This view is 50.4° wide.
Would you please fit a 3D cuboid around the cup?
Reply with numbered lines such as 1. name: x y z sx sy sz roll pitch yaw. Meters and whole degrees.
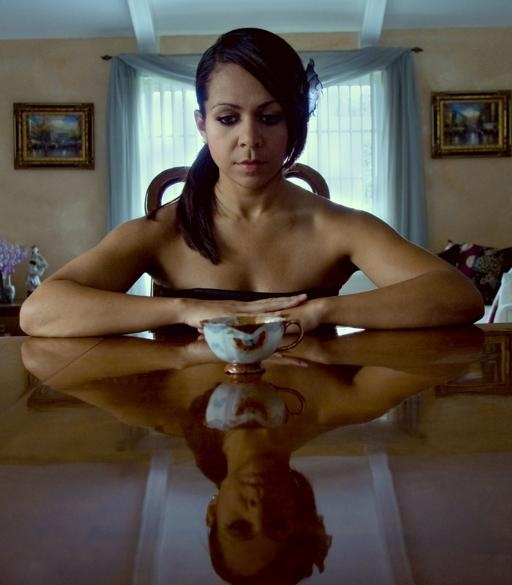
1. cup: -0.010 0.059 0.624 0.096 0.037 0.072 -1 0 -1

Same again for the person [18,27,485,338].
1. person: 0.002 -0.193 1.209 1.004 0.541 0.487 -2 18 3

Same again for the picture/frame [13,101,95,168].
1. picture/frame: -1.563 -1.227 4.222 0.643 0.428 0.046 0 0 -1
